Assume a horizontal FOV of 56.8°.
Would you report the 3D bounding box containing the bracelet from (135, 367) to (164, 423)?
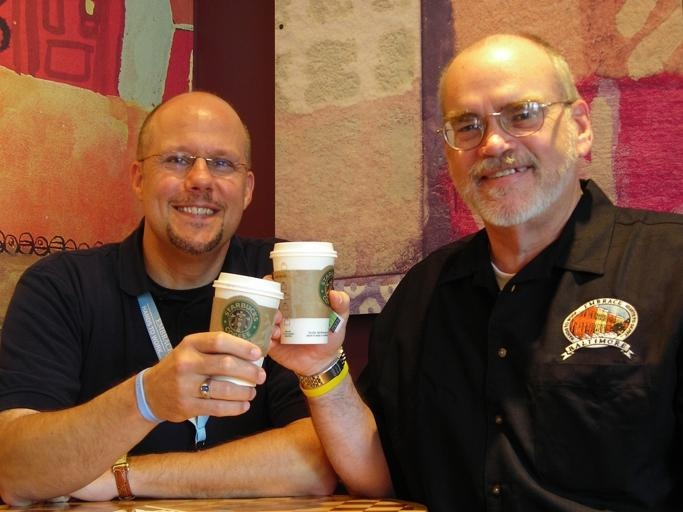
[{"bbox_3d":[-0.597,0.420,1.922,0.036,0.136,0.130,-21,-9,3],"label":"bracelet"}]
